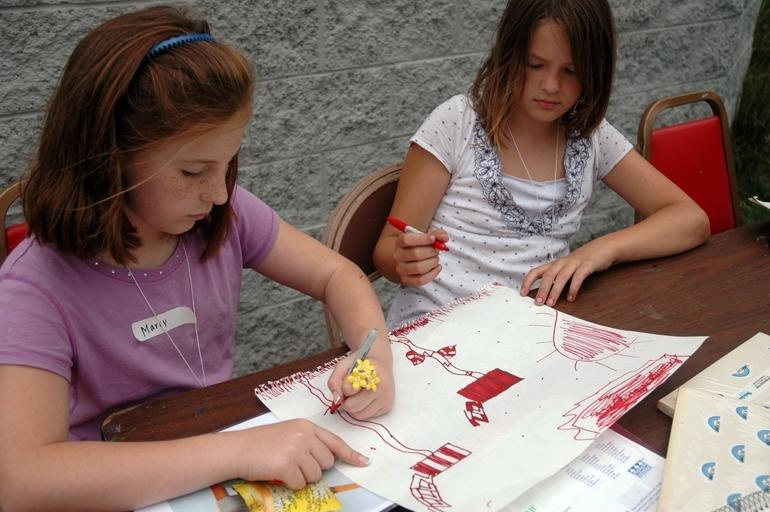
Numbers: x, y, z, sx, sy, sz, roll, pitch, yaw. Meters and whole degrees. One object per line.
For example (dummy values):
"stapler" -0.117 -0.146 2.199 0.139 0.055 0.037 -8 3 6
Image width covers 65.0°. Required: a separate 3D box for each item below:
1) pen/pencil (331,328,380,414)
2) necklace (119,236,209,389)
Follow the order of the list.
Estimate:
"pen/pencil" -0.054 0.221 1.140 0.017 0.018 0.165 25 71 10
"necklace" -0.431 0.116 1.217 0.103 0.312 0.011 -26 22 -34
